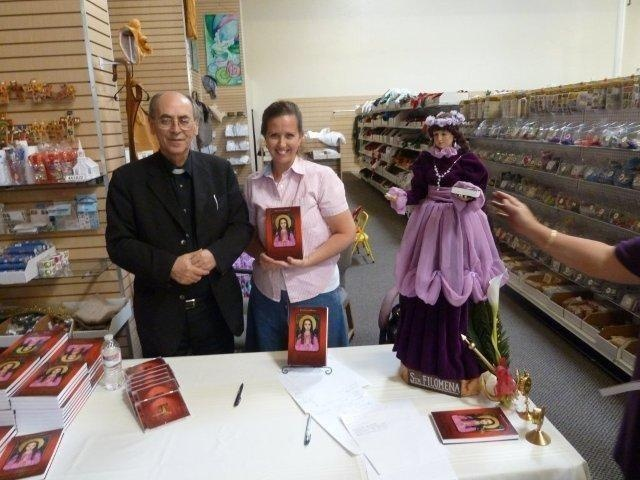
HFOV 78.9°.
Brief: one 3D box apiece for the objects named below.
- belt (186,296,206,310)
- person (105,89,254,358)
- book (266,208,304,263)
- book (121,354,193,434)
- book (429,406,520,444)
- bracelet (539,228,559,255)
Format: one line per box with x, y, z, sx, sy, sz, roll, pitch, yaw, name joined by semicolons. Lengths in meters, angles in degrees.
-0.745;0.370;2.317;0.085;0.041;0.113;-1;2;-12;belt
-0.817;-0.018;2.325;0.822;1.641;0.491;-12;21;-25;person
-0.197;-0.032;2.149;0.284;0.408;0.043;-1;4;0;book
-0.771;0.708;1.845;0.189;0.100;0.333;-15;19;-21;book
0.652;0.788;1.658;0.187;0.019;0.140;-2;16;-2;book
0.931;-0.001;1.549;0.025;0.091;0.088;16;68;12;bracelet
